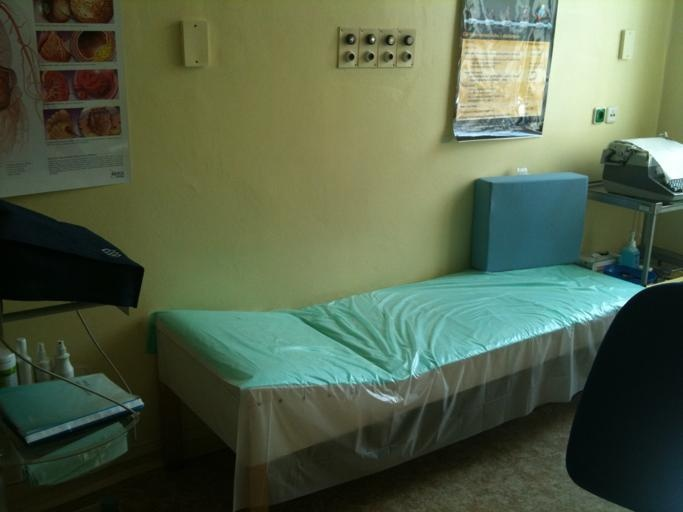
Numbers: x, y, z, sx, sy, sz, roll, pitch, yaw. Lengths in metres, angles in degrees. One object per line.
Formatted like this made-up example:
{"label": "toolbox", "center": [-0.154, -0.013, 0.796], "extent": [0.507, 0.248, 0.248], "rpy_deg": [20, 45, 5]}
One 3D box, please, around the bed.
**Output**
{"label": "bed", "center": [0.255, 0.457, 2.378], "extent": [1.830, 0.512, 0.829], "rpy_deg": [-12, 21, -33]}
